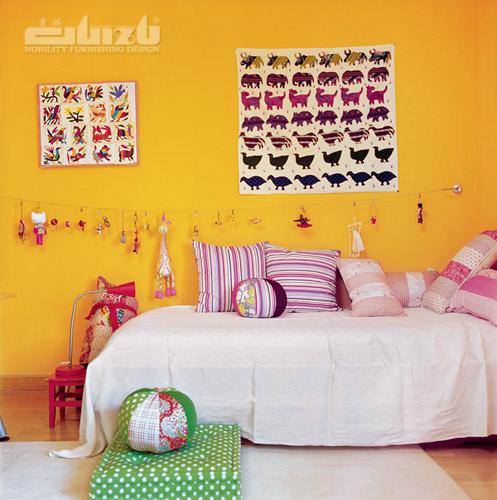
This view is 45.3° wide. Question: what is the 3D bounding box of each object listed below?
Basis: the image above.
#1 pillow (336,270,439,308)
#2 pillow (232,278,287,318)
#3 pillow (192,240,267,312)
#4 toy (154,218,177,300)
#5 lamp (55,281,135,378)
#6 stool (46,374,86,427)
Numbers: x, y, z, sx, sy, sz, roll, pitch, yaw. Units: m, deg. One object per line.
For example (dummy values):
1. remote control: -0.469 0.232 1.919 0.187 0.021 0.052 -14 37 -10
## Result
1. pillow: 0.964 0.244 3.712 0.408 0.267 0.109 -1 -27 -11
2. pillow: 0.054 0.269 3.308 0.249 0.168 0.235 -3 -7 28
3. pillow: -0.112 0.177 3.675 0.514 0.429 0.170 2 -3 -28
4. toy: -0.545 0.054 3.872 0.135 0.535 0.187 -2 12 -8
5. lamp: -0.865 0.422 3.595 0.630 0.572 0.384 -2 1 -21
6. stool: -1.022 0.806 3.332 0.198 0.275 0.435 -4 12 -18
